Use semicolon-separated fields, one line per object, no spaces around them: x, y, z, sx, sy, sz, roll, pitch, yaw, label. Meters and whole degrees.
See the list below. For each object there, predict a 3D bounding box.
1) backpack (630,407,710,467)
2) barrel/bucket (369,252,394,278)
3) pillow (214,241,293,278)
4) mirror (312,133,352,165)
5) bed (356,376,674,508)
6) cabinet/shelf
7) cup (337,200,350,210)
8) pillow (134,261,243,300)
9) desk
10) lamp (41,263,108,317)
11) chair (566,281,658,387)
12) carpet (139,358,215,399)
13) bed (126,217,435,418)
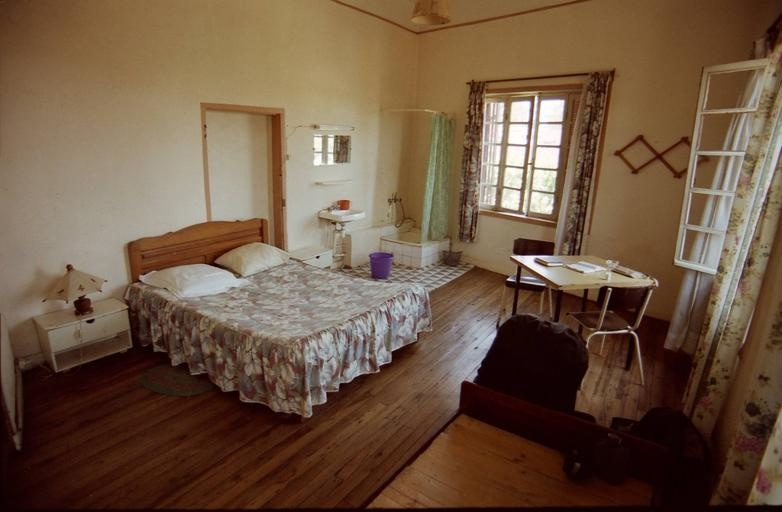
2.345;1.497;4.370;0.272;0.483;0.662;-4;-2;-41;backpack
-0.195;0.128;7.727;0.358;0.282;0.384;4;9;-1;barrel/bucket
-1.850;-0.057;6.540;0.595;0.168;0.531;18;26;35;pillow
-0.927;-1.623;7.686;0.093;0.309;0.549;22;30;36;mirror
1.069;1.595;4.138;2.188;0.722;0.858;4;15;11;bed
-3.355;0.837;5.621;0.437;0.564;0.800;24;29;36;cabinet/shelf
-0.743;-0.803;7.984;0.163;0.142;0.159;1;9;0;cup
-2.193;0.278;5.871;0.613;0.138;0.529;14;14;22;pillow
2.200;0.600;6.159;1.284;1.091;1.758;-1;16;-12;desk
-3.381;0.347;5.480;0.433;0.512;0.448;12;19;34;lamp
2.457;0.892;5.705;0.782;1.258;0.845;-6;31;-7;chair
-2.237;1.311;5.349;0.770;0.135;0.438;8;16;25;carpet
-1.435;0.468;5.938;2.933;1.188;2.165;14;22;30;bed
